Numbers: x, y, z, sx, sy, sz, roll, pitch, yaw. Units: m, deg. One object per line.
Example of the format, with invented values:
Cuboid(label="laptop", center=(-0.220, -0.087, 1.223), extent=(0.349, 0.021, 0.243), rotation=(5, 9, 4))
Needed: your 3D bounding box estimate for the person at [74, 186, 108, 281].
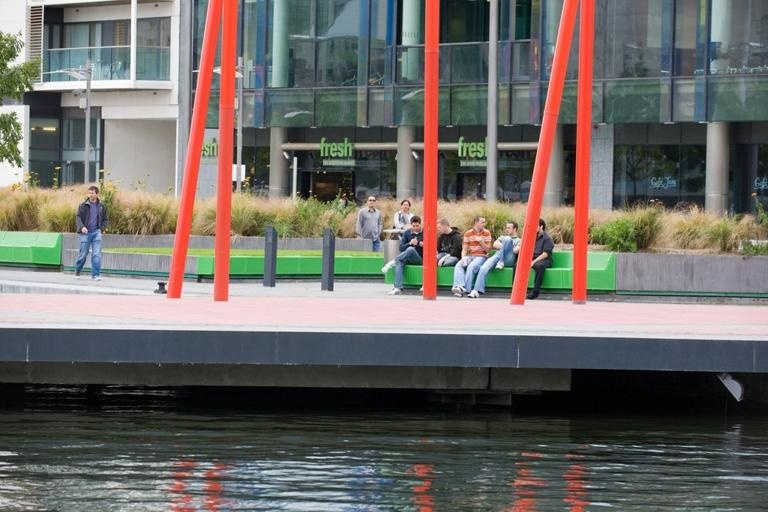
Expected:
Cuboid(label="person", center=(-8.201, -0.692, 58.237), extent=(0.851, 2.513, 0.857), rotation=(-1, 3, 8))

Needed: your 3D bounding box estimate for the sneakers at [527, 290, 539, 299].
Cuboid(label="sneakers", center=(3.960, 0.993, 55.507), extent=(0.356, 0.163, 0.130), rotation=(5, 0, -10))

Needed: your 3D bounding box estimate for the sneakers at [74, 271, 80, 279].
Cuboid(label="sneakers", center=(-8.551, 0.491, 58.214), extent=(0.155, 0.200, 0.478), rotation=(0, 4, -6))

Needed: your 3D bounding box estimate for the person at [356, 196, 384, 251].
Cuboid(label="person", center=(-0.436, -0.990, 61.689), extent=(0.744, 1.617, 1.509), rotation=(-2, 3, -1))

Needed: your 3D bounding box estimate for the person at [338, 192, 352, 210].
Cuboid(label="person", center=(-1.315, -1.854, 69.822), extent=(0.467, 0.494, 1.086), rotation=(23, 7, -4))

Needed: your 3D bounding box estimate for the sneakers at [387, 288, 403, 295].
Cuboid(label="sneakers", center=(0.287, 0.910, 55.783), extent=(0.401, 0.182, 0.140), rotation=(2, -2, -7))

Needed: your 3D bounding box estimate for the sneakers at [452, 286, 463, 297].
Cuboid(label="sneakers", center=(1.928, 0.908, 55.705), extent=(0.200, 0.240, 0.390), rotation=(-4, 4, -37))

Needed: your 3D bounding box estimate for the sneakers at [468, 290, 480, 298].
Cuboid(label="sneakers", center=(2.380, 0.960, 55.622), extent=(0.300, 0.189, 0.196), rotation=(-2, 3, -9))

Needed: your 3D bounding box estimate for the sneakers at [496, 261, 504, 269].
Cuboid(label="sneakers", center=(3.082, 0.186, 55.825), extent=(0.175, 0.156, 0.355), rotation=(0, -4, 9))
